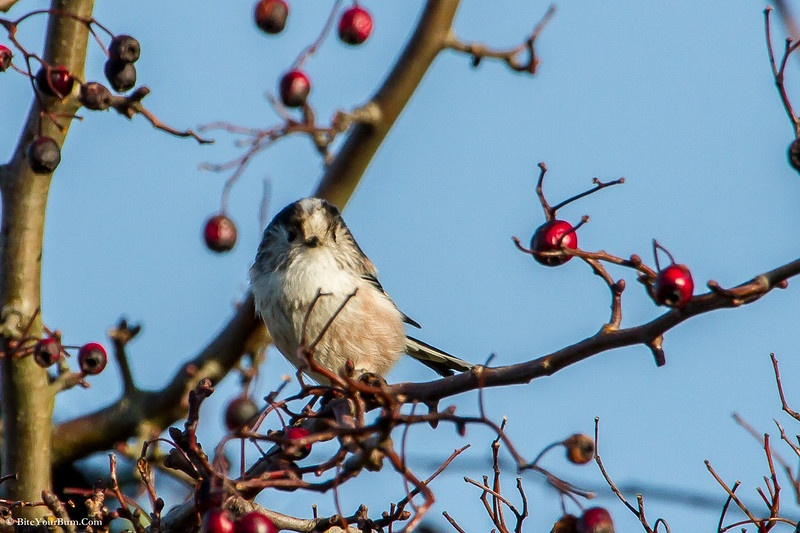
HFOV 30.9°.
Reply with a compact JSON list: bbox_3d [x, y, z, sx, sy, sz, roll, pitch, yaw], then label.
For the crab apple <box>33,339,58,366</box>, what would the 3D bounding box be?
[{"bbox_3d":[-2.427,0.611,9.954,0.123,0.195,0.144,7,-48,-24],"label":"crab apple"}]
